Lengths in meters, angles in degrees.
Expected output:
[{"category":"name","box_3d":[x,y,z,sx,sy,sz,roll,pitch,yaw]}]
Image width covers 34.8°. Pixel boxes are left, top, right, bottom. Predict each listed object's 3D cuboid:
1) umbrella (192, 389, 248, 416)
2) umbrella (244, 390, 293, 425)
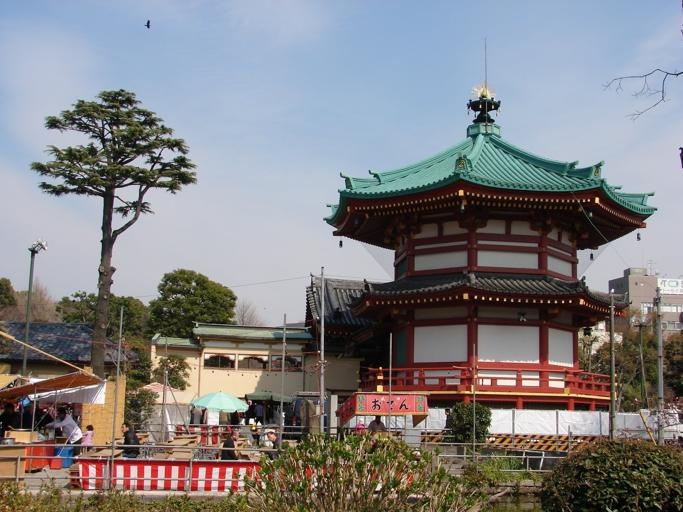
[{"category":"umbrella","box_3d":[-5.195,6.260,47.389,1.856,1.047,2.114,-1,-17,10]},{"category":"umbrella","box_3d":[-3.547,7.534,54.298,1.970,1.653,2.573,4,-10,-22]}]
